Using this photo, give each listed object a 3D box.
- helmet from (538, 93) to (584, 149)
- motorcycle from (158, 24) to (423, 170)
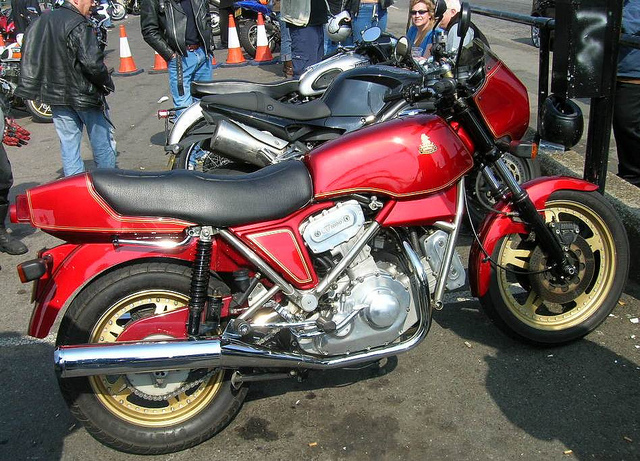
[{"bbox_3d":[1.926,-0.884,4.203,0.292,0.279,0.400,-2,38,-3],"label":"helmet"},{"bbox_3d":[-0.141,-1.040,5.819,2.876,1.705,1.528,-12,34,-4],"label":"motorcycle"}]
